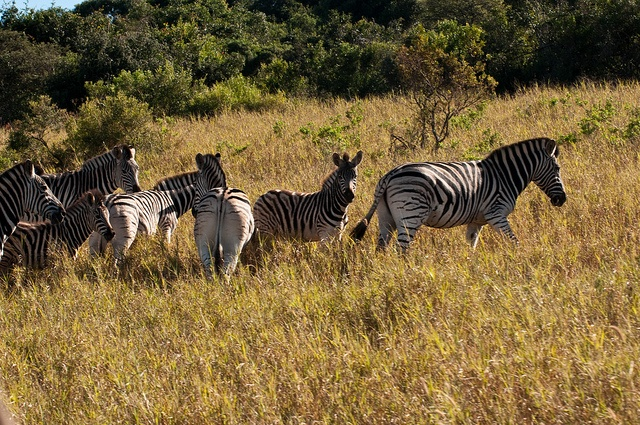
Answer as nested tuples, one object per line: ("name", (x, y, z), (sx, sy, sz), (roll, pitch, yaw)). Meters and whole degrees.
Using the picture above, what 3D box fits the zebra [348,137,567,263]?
("zebra", (2.483, -0.089, 11.597), (3.771, 2.408, 0.931), (-1, 10, -14))

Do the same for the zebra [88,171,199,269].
("zebra", (-2.799, 0.116, 12.655), (2.259, 1.733, 0.617), (-5, 20, 21))

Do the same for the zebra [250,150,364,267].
("zebra", (-0.224, -0.001, 12.062), (2.310, 1.860, 0.715), (-4, 5, 36))

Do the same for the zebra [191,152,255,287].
("zebra", (-1.554, 0.341, 11.178), (0.946, 1.323, 0.807), (2, 10, -11))

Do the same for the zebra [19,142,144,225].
("zebra", (-4.877, -0.355, 13.818), (2.154, 1.570, 0.600), (-4, -4, -18))
